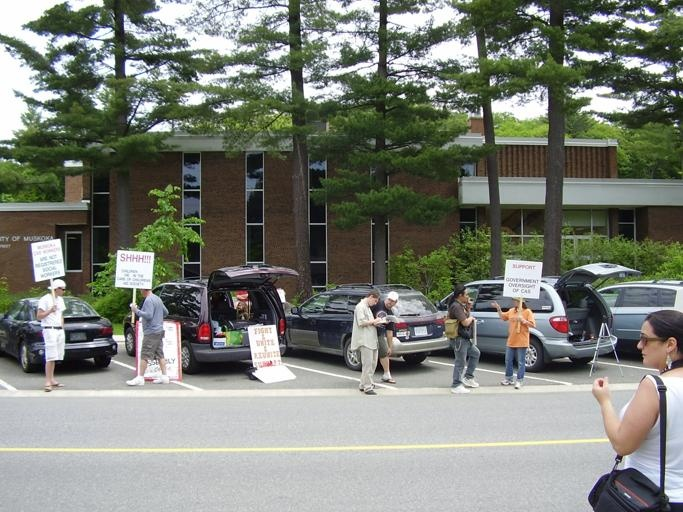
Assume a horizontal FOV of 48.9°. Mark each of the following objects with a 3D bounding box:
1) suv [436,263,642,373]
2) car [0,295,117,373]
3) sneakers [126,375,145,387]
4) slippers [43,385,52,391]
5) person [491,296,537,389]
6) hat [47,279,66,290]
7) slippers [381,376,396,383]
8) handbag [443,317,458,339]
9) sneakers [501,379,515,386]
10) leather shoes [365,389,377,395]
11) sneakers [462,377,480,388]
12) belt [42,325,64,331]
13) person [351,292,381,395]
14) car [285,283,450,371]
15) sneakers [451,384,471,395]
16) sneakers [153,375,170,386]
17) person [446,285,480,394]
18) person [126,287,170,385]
[{"bbox_3d":[4.795,1.615,20.568,2.536,2.543,6.452,3,-2,-39],"label":"suv"},{"bbox_3d":[-7.736,1.972,19.551,1.545,1.032,3.283,2,0,-37],"label":"car"},{"bbox_3d":[-4.747,2.940,17.549,0.500,0.210,0.173,1,-5,-6],"label":"sneakers"},{"bbox_3d":[-6.608,2.975,16.941,0.158,0.153,0.241,-4,10,-20],"label":"slippers"},{"bbox_3d":[4.060,2.046,17.669,0.780,2.074,1.055,1,10,10],"label":"person"},{"bbox_3d":[-6.577,0.660,17.412,0.430,0.167,0.436,-1,1,-23],"label":"hat"},{"bbox_3d":[1.102,2.956,17.832,0.336,0.123,0.127,-1,-2,23],"label":"slippers"},{"bbox_3d":[2.440,1.676,17.056,0.389,0.495,0.203,7,12,39],"label":"handbag"},{"bbox_3d":[3.902,3.003,17.717,0.314,0.126,0.112,9,-11,-31],"label":"sneakers"},{"bbox_3d":[0.626,3.061,16.869,0.254,0.088,0.183,0,9,0],"label":"leather shoes"},{"bbox_3d":[3.028,2.954,17.489,0.423,0.180,0.179,2,4,-30],"label":"sneakers"},{"bbox_3d":[-6.551,1.653,17.136,0.413,0.141,0.189,-5,11,-30],"label":"belt"},{"bbox_3d":[0.557,1.989,17.123,0.676,2.260,1.044,0,10,1],"label":"person"},{"bbox_3d":[0.511,1.723,19.771,1.948,1.407,4.159,2,1,-43],"label":"car"},{"bbox_3d":[2.651,3.032,16.970,0.468,0.184,0.174,0,3,-8],"label":"sneakers"},{"bbox_3d":[-4.291,2.967,17.843,0.467,0.200,0.170,1,-3,24],"label":"sneakers"},{"bbox_3d":[2.771,1.891,17.249,0.770,2.468,1.066,1,10,10],"label":"person"},{"bbox_3d":[-4.522,1.958,17.680,0.884,2.188,0.538,-4,10,-21],"label":"person"}]
